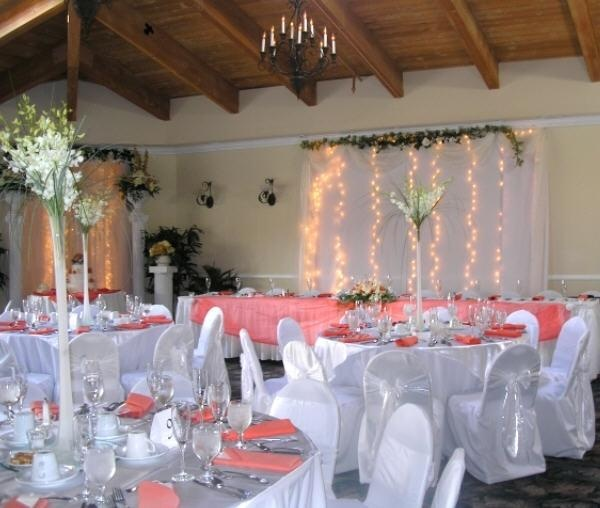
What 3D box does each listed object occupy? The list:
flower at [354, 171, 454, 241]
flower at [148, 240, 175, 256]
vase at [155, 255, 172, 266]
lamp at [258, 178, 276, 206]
[{"bbox_3d":[1.357,-0.598,7.357,0.952,0.883,0.973,-2,-3,44],"label":"flower"},{"bbox_3d":[-2.045,-0.052,8.592,0.230,0.186,0.258,-14,9,-8],"label":"flower"},{"bbox_3d":[-2.048,0.130,8.772,0.142,0.131,0.156,-1,-2,29],"label":"vase"},{"bbox_3d":[-0.498,-0.969,9.038,0.303,0.409,0.320,12,15,37],"label":"lamp"}]
